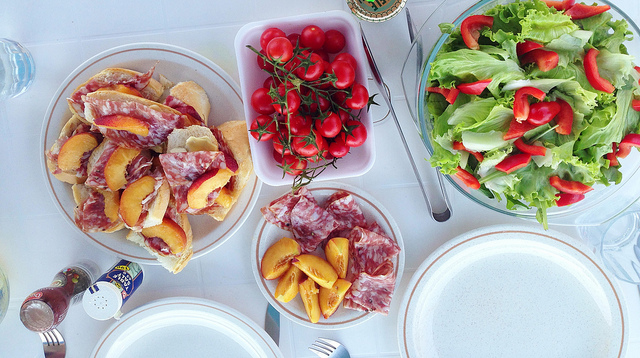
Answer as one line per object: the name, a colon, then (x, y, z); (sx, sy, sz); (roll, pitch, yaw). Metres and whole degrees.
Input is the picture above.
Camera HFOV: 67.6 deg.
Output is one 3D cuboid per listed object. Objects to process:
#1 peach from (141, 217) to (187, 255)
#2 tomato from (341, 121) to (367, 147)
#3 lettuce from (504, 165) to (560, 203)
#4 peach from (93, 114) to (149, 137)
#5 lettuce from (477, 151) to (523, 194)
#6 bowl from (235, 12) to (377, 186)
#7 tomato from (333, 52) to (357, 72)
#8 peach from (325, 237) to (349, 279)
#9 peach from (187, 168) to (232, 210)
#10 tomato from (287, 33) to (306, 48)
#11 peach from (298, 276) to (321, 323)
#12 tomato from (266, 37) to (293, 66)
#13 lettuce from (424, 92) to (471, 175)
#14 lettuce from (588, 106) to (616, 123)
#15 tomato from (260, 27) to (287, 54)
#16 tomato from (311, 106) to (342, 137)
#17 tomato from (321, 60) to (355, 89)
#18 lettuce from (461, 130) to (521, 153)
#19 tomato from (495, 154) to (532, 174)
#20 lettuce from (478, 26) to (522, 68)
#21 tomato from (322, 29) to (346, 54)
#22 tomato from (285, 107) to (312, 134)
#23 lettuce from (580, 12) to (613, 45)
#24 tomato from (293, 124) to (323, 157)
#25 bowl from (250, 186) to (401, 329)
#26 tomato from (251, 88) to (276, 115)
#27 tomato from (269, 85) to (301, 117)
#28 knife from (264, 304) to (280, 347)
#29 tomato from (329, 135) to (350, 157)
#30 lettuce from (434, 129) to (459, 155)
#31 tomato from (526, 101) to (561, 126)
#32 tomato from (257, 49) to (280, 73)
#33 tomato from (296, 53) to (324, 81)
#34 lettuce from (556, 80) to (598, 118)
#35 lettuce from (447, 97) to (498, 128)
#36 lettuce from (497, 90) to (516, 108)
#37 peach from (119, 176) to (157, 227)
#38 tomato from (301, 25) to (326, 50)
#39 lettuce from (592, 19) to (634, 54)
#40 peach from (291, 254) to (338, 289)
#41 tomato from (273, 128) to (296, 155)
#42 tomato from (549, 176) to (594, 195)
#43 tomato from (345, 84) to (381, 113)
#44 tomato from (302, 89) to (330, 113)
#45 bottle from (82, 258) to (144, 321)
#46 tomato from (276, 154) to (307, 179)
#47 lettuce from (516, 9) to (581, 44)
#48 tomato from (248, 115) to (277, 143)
peach: (-0.533, 0.185, 1.651); (0.155, 0.047, 0.086); (28, -78, -3)
tomato: (0.108, -0.146, 1.572); (0.073, 0.076, 0.076); (-8, -117, 25)
lettuce: (0.643, 0.012, 1.445); (0.117, 0.039, 0.120); (25, -69, 0)
peach: (-0.660, -0.185, 1.582); (0.178, 0.053, 0.052); (16, -77, -1)
lettuce: (0.540, -0.020, 1.446); (0.118, 0.054, 0.125); (45, -63, -1)
bowl: (-0.033, -0.221, 1.599); (0.440, 0.221, 0.561); (-6, -79, -1)
tomato: (0.076, -0.388, 1.549); (0.060, 0.056, 0.058); (-23, -72, -4)
peach: (0.056, 0.270, 1.706); (0.097, 0.043, 0.128); (-1, -76, 10)
peach: (-0.376, 0.023, 1.581); (0.081, 0.041, 0.177); (44, -79, -7)
tomato: (-0.086, -0.450, 1.578); (0.050, 0.050, 0.061); (-15, -85, -25)
peach: (-0.037, 0.421, 1.707); (0.082, 0.046, 0.150); (-13, -82, -2)
tomato: (-0.139, -0.415, 1.500); (0.076, 0.071, 0.072); (36, -40, 19)
lettuce: (0.372, -0.141, 1.404); (0.118, 0.069, 0.230); (6, -76, 20)
lettuce: (0.817, -0.188, 1.379); (0.052, 0.021, 0.053); (-11, -105, 0)
tomato: (-0.160, -0.460, 1.584); (0.073, 0.080, 0.079); (24, -68, 29)
tomato: (0.019, -0.175, 1.542); (0.078, 0.076, 0.095); (-24, -42, 15)
tomato: (0.062, -0.326, 1.490); (0.084, 0.101, 0.083); (-25, -88, 29)
lettuce: (0.500, -0.111, 1.399); (0.148, 0.040, 0.068); (-1, -85, -13)
tomato: (0.565, -0.049, 1.418); (0.094, 0.046, 0.019); (-28, -56, -8)
lettuce: (0.543, -0.409, 1.450); (0.105, 0.049, 0.107); (-13, -76, 45)
tomato: (0.044, -0.454, 1.591); (0.079, 0.078, 0.090); (-3, -81, -22)
tomato: (-0.065, -0.182, 1.557); (0.081, 0.081, 0.080); (-24, -68, -8)
lettuce: (0.819, -0.446, 1.416); (0.089, 0.030, 0.089); (-6, -78, -5)
tomato: (-0.038, -0.121, 1.497); (0.078, 0.086, 0.085); (-1, -92, 2)
bowl: (0.013, 0.263, 1.730); (0.558, 0.163, 0.485); (18, -95, 2)
tomato: (-0.186, -0.246, 1.528); (0.077, 0.038, 0.077); (4, -82, 0)
tomato: (-0.100, -0.240, 1.479); (0.084, 0.048, 0.088); (2, -85, 17)
knife: (-0.178, 0.541, 1.792); (0.039, 0.011, 0.163); (-19, -89, -10)
tomato: (0.058, -0.105, 1.536); (0.060, 0.034, 0.063); (-1, -93, 16)
lettuce: (0.382, -0.114, 1.451); (0.069, 0.029, 0.071); (-36, -100, 27)
tomato: (0.640, -0.191, 1.382); (0.082, 0.044, 0.063); (-17, -93, 2)
tomato: (-0.167, -0.378, 1.544); (0.074, 0.041, 0.075); (-2, -76, 15)
tomato: (-0.024, -0.333, 1.476); (0.081, 0.040, 0.082); (3, -97, -3)
lettuce: (0.745, -0.239, 1.382); (0.123, 0.044, 0.065); (36, -78, -5)
lettuce: (0.450, -0.194, 1.404); (0.151, 0.038, 0.060); (-17, -79, 6)
lettuce: (0.548, -0.233, 1.397); (0.047, 0.023, 0.047); (25, -61, 8)
peach: (-0.622, 0.065, 1.611); (0.082, 0.063, 0.172); (29, -78, -4)
tomato: (-0.022, -0.456, 1.558); (0.076, 0.086, 0.083); (5, -80, 40)
lettuce: (0.862, -0.419, 1.412); (0.080, 0.092, 0.119); (3, -86, -9)
peach: (-0.017, 0.316, 1.705); (0.172, 0.069, 0.070); (33, -78, -4)
tomato: (-0.112, -0.120, 1.576); (0.076, 0.078, 0.074); (1, -63, 1)
tomato: (0.746, 0.020, 1.433); (0.121, 0.043, 0.046); (20, -77, -2)
tomato: (0.131, -0.256, 1.516); (0.089, 0.066, 0.070); (2, -95, -11)
tomato: (-0.003, -0.247, 1.522); (0.068, 0.085, 0.073); (14, -79, 6)
bottle: (-0.749, 0.395, 1.731); (0.125, 0.213, 0.135); (2, -63, 4)
tomato: (-0.091, -0.055, 1.565); (0.069, 0.098, 0.072); (35, -61, 21)
lettuce: (0.655, -0.437, 1.380); (0.164, 0.049, 0.084); (-3, -87, 4)
tomato: (-0.187, -0.159, 1.529); (0.081, 0.086, 0.083); (0, -89, 3)
